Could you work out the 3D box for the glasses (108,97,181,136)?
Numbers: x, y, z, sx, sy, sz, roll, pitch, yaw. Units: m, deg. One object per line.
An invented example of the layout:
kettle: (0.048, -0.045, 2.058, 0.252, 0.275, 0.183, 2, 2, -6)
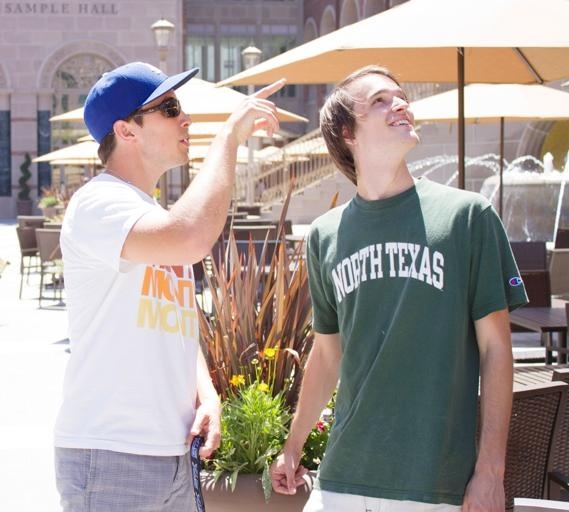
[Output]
glasses: (-0.411, -0.455, 2.651, 0.152, 0.054, 0.127, -31, 0, 2)
